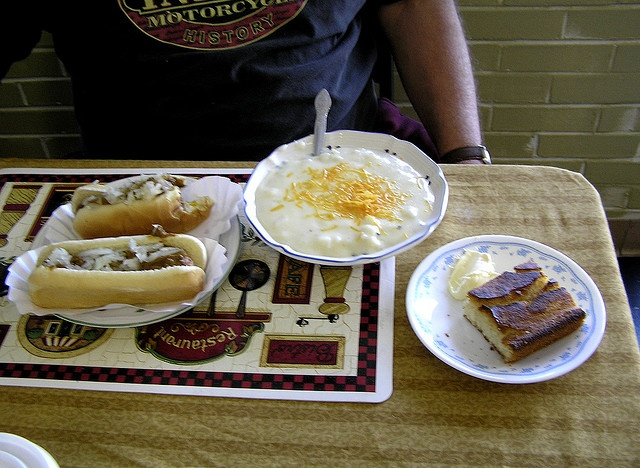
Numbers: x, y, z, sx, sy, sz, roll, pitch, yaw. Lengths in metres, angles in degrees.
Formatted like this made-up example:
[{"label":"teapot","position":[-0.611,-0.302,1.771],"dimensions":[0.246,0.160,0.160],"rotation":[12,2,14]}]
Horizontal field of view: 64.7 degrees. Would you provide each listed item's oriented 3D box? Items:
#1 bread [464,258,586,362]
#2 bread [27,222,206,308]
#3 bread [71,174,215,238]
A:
[{"label":"bread","position":[0.550,0.207,1.417],"dimensions":[0.316,0.083,0.249],"rotation":[-21,47,-16]},{"label":"bread","position":[-0.595,0.108,1.494],"dimensions":[0.545,0.134,0.184],"rotation":[1,56,-1]},{"label":"bread","position":[-0.613,-0.088,1.704],"dimensions":[0.482,0.139,0.190],"rotation":[-2,37,4]}]
